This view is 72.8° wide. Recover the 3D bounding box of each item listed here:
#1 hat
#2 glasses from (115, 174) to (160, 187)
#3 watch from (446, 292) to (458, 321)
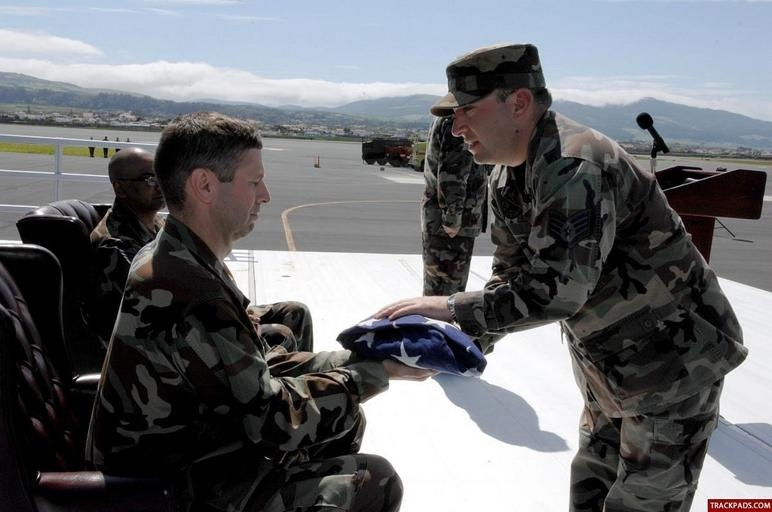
[{"bbox_3d":[0.512,-0.910,2.705,0.621,0.280,0.442,-7,12,2],"label":"hat"},{"bbox_3d":[-1.561,-0.473,3.265,0.261,0.071,0.240,1,6,6],"label":"glasses"},{"bbox_3d":[0.315,0.233,2.478,0.075,0.101,0.108,-8,41,12],"label":"watch"}]
